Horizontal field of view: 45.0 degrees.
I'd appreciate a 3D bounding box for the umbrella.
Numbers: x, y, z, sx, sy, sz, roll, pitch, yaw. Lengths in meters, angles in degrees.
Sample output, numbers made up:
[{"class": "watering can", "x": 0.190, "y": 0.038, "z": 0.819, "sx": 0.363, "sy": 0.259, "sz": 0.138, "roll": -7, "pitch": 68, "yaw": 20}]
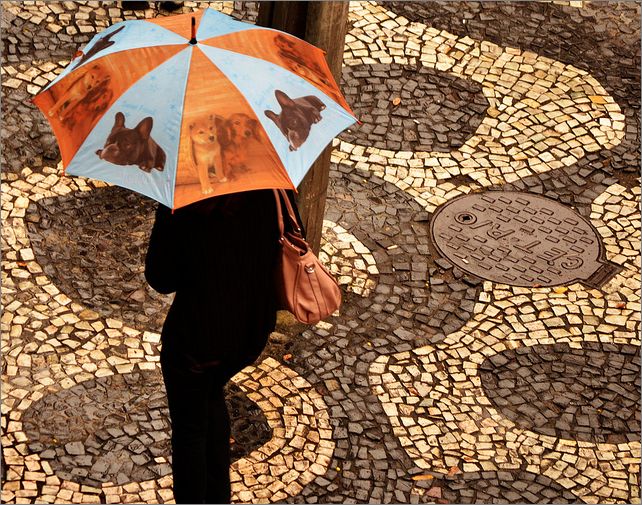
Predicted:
[{"class": "umbrella", "x": -0.573, "y": -0.718, "z": 3.753, "sx": 1.405, "sy": 0.510, "sz": 1.212, "roll": -15, "pitch": 58, "yaw": -20}]
